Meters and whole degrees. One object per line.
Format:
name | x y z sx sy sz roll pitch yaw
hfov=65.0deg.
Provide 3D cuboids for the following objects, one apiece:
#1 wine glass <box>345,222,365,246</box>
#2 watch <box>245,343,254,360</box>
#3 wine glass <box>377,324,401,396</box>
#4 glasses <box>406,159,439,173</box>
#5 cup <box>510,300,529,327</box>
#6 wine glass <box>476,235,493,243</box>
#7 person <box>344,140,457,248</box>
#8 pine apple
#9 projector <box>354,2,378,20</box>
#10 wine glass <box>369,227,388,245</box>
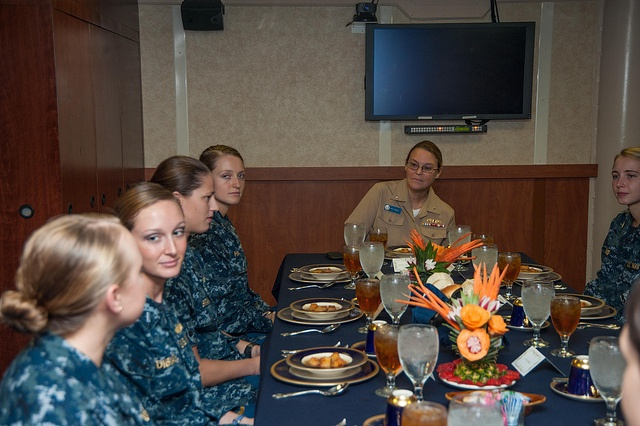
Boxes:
wine glass | 0.211 0.123 3.046 0.122 0.138 0.125 0 -3 -4
watch | -0.387 0.738 2.689 0.044 0.063 0.069 16 -11 20
wine glass | 0.239 0.488 1.714 0.094 0.249 0.202 1 6 10
glasses | 0.809 -0.352 3.833 0.244 0.104 0.112 0 6 4
cup | 0.877 0.442 2.214 0.097 0.109 0.099 -2 -5 0
wine glass | 0.975 0.147 2.881 0.060 0.059 0.061 0 -1 -5
person | 0.653 -0.179 3.984 0.696 1.176 0.452 11 -6 0
pine apple | 0.552 0.470 1.745 0.181 0.274 0.197 -8 2 -38
projector | 0.417 -1.752 4.393 0.171 0.160 0.139 -1 13 -2
wine glass | 0.363 0.141 3.055 0.105 0.114 0.107 0 -3 -3
